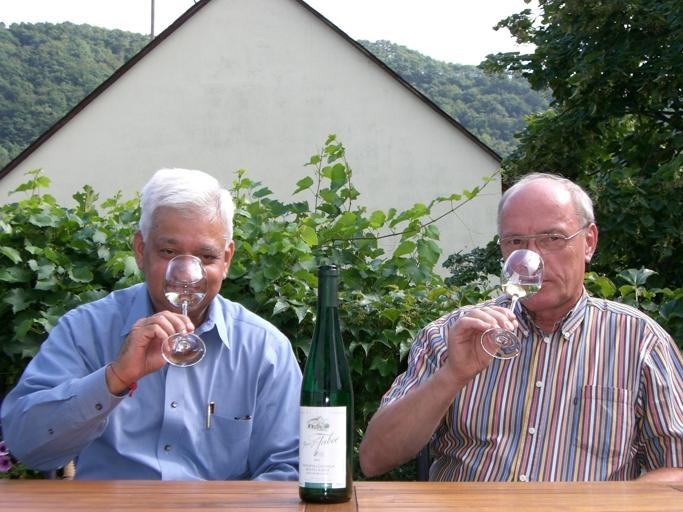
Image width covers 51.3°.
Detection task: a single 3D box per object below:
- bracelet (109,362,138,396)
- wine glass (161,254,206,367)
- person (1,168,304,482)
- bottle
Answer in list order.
[{"bbox_3d":[-0.745,0.416,2.416,0.038,0.106,0.076,-22,4,8],"label":"bracelet"},{"bbox_3d":[-0.563,0.195,2.544,0.153,0.396,0.420,2,-11,-12],"label":"wine glass"},{"bbox_3d":[-0.679,0.253,2.827,0.824,1.241,0.970,-9,-14,40],"label":"person"},{"bbox_3d":[-0.047,0.386,2.146,0.159,0.695,0.295,0,-10,-1],"label":"bottle"}]
